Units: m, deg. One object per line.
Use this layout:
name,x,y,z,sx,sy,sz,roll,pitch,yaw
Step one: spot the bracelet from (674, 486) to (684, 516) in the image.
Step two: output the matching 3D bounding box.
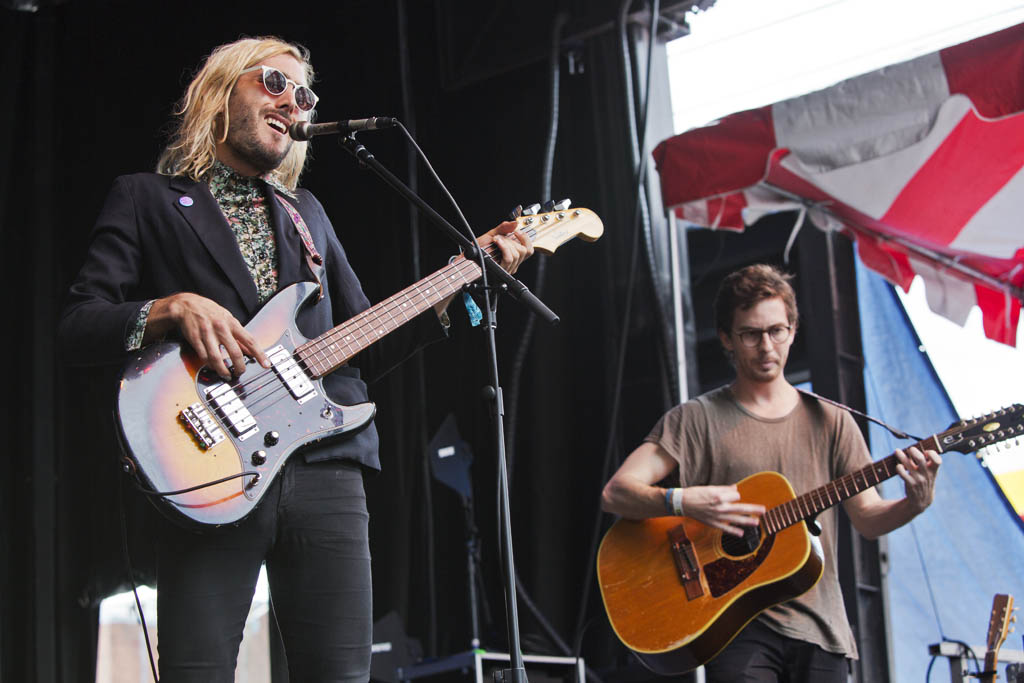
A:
bracelet,0.683,0.663,4.346,0.037,0.087,0.061,1,4,3

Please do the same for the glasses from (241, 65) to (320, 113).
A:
glasses,-0.925,-0.967,4.123,0.207,0.071,0.195,34,-15,-38

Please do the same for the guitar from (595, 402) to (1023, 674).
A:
guitar,1.220,0.931,4.524,2.044,0.846,0.285,-29,-28,18
